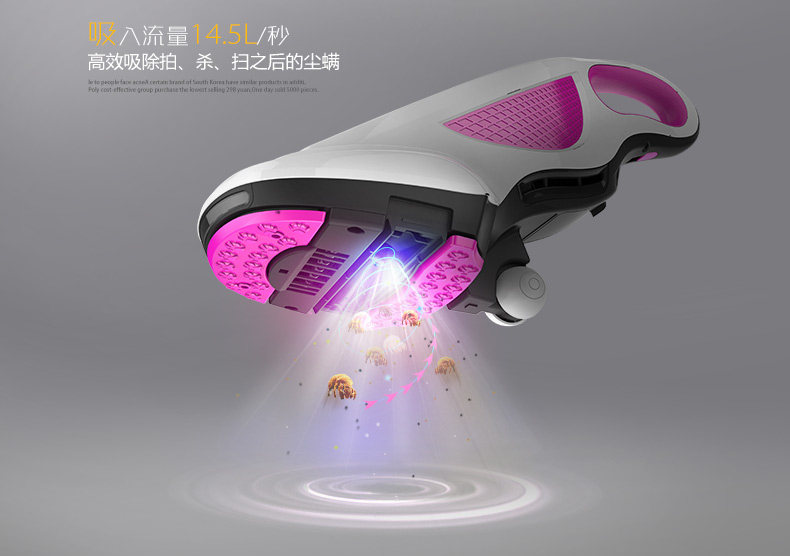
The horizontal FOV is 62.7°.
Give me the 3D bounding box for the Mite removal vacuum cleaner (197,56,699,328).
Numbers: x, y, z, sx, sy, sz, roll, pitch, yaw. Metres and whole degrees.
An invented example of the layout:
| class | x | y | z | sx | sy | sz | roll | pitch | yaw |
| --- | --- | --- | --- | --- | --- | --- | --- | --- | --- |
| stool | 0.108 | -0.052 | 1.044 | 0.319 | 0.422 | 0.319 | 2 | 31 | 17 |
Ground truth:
| class | x | y | z | sx | sy | sz | roll | pitch | yaw |
| --- | --- | --- | --- | --- | --- | --- | --- | --- | --- |
| Mite removal vacuum cleaner | 0.151 | -0.275 | 1.491 | 1.147 | 0.384 | 0.376 | -11 | -83 | -21 |
